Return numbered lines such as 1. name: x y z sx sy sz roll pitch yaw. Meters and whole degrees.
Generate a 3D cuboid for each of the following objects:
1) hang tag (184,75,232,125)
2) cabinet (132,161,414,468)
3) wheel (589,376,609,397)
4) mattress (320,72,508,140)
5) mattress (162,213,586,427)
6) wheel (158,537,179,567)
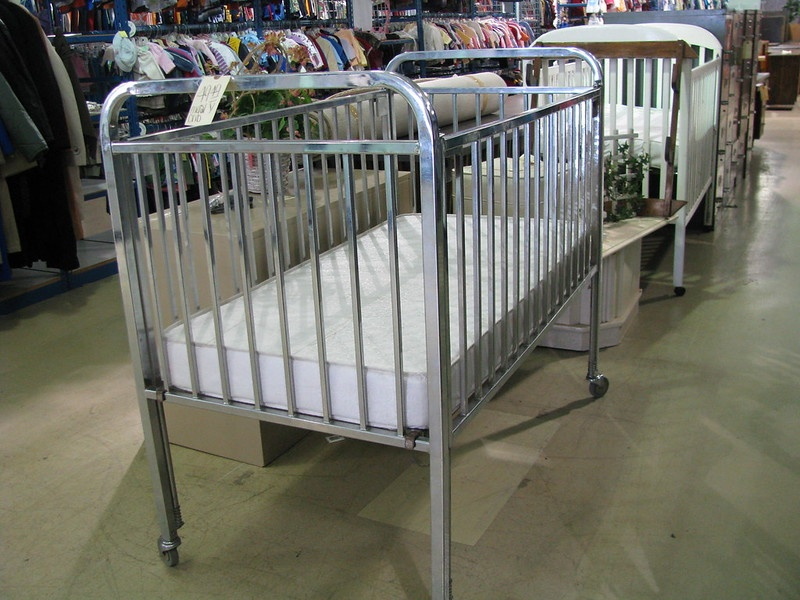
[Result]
1. hang tag: -0.497 -0.519 1.719 0.114 0.114 0.082 13 26 36
2. cabinet: -0.424 0.137 2.592 0.672 0.817 1.225 10 23 19
3. wheel: 0.818 0.355 2.709 0.069 0.067 0.027 -24 20 -33
4. mattress: 0.007 -1.060 3.734 1.214 0.282 0.285 3 46 39
5. mattress: -0.081 -0.054 2.025 0.878 0.439 1.008 9 23 30
6. wheel: -0.688 0.752 1.976 0.048 0.082 0.079 -12 18 -43
